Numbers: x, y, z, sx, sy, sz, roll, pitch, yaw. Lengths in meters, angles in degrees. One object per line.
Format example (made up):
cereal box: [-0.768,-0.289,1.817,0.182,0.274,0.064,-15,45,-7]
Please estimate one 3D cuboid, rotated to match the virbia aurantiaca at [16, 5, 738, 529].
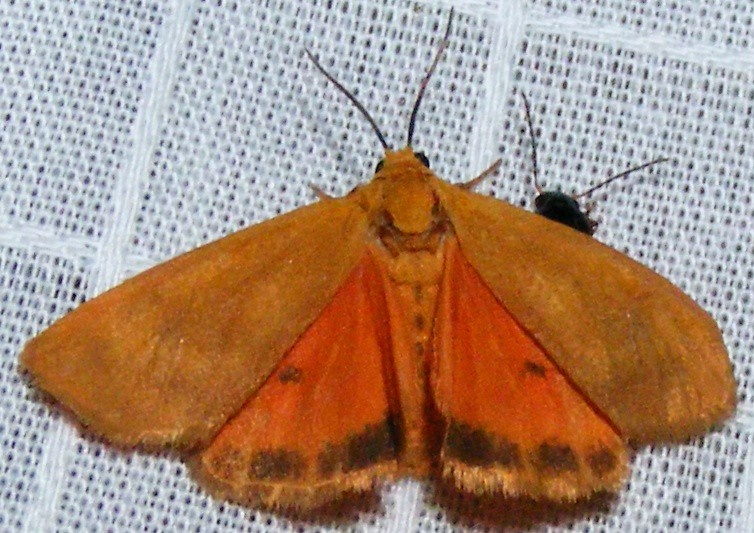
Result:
virbia aurantiaca: [0.042,0.046,3.025,1.328,0.371,1.192,-5,85,4]
